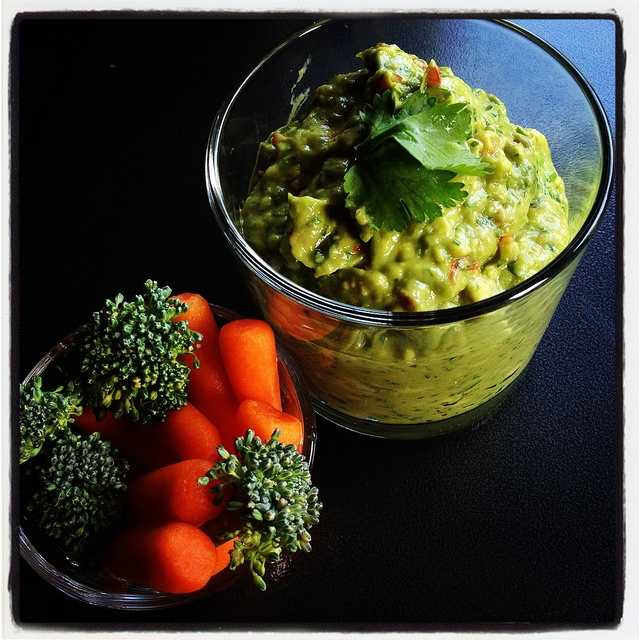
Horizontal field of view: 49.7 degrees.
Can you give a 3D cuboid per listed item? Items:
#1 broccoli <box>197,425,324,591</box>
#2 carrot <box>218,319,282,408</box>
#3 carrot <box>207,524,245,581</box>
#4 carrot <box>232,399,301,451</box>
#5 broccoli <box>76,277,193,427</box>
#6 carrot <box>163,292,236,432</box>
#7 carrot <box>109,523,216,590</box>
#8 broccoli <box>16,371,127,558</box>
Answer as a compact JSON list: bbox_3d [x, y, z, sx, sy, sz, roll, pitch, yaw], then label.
[{"bbox_3d":[-0.123,0.370,1.373,0.265,0.217,0.267,29,-13,-16],"label":"broccoli"},{"bbox_3d":[-0.164,0.065,1.609,0.156,0.116,0.325,13,7,-13],"label":"carrot"},{"bbox_3d":[-0.182,0.469,1.368,0.059,0.116,0.030,11,0,44],"label":"carrot"},{"bbox_3d":[-0.101,0.205,1.403,0.102,0.095,0.102,16,5,-35],"label":"carrot"},{"bbox_3d":[-0.371,0.066,1.502,0.263,0.174,0.267,-29,15,-5],"label":"broccoli"},{"bbox_3d":[-0.243,0.107,1.515,0.097,0.377,0.100,-18,-5,7],"label":"carrot"},{"bbox_3d":[-0.312,0.451,1.393,0.201,0.121,0.114,13,16,17],"label":"carrot"},{"bbox_3d":[-0.554,0.337,1.491,0.236,0.179,0.301,0,13,-32],"label":"broccoli"}]
